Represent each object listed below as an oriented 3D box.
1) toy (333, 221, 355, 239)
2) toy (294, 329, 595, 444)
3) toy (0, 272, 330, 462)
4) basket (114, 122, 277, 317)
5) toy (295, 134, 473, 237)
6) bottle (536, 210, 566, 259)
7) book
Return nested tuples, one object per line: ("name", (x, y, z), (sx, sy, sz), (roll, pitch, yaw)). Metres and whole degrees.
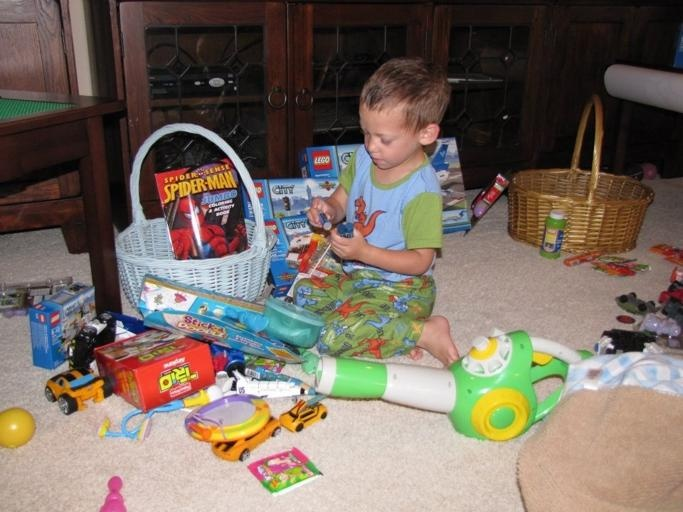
("toy", (0.006, -0.061, 1.246), (0.038, 0.035, 0.037), (6, 13, 41))
("toy", (0.212, 0.275, 1.210), (0.658, 0.265, 0.244), (0, 38, 3))
("toy", (-0.359, 0.228, 1.166), (0.664, 0.242, 0.380), (2, 24, 2))
("basket", (-0.420, -0.172, 1.550), (0.552, 0.550, 0.412), (12, 22, 32))
("toy", (0.318, -0.278, 2.161), (0.498, 0.470, 0.116), (-8, -14, -18))
("bottle", (0.781, -0.078, 1.894), (0.064, 0.174, 0.049), (6, 24, 11))
("book", (-0.107, 0.424, 1.016), (0.077, 0.011, 0.076), (-16, 33, -31))
